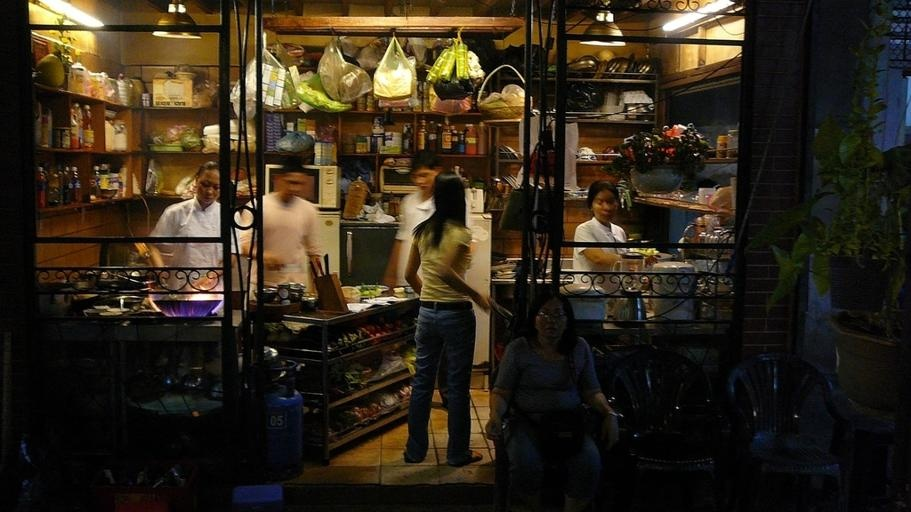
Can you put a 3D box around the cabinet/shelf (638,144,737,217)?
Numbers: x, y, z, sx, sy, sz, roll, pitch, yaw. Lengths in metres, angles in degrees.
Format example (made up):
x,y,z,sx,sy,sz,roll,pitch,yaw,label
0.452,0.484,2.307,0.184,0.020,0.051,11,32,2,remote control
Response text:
x,y,z,sx,sy,sz,roll,pitch,yaw,label
1.649,-0.456,5.379,0.673,0.451,0.407,-2,5,18,cabinet/shelf

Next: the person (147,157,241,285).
x,y,z,sx,sy,sz,roll,pitch,yaw,label
-1.986,-0.226,5.757,0.580,0.973,0.690,-7,5,-37,person

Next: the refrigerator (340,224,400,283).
x,y,z,sx,sy,sz,roll,pitch,yaw,label
-0.970,-0.086,8.428,0.961,0.739,0.621,1,5,-5,refrigerator

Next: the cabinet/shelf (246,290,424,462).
x,y,z,sx,sy,sz,roll,pitch,yaw,label
-1.225,0.942,6.715,0.679,1.022,1.648,3,4,3,cabinet/shelf

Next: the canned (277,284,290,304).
x,y,z,sx,sy,sz,roll,pitch,yaw,label
-1.418,0.321,6.292,0.088,0.139,0.067,-5,4,-9,canned

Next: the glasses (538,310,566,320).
x,y,z,sx,sy,sz,roll,pitch,yaw,label
0.677,0.416,5.253,0.179,0.061,0.046,-3,4,-6,glasses

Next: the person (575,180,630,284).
x,y,z,sx,sy,sz,roll,pitch,yaw,label
1.061,-0.151,5.624,0.391,0.794,0.718,-3,4,11,person

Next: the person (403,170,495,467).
x,y,z,sx,sy,sz,roll,pitch,yaw,label
-0.095,0.546,6.168,0.772,2.396,0.454,-1,6,40,person

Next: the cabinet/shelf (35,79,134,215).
x,y,z,sx,sy,sz,roll,pitch,yaw,label
-2.820,-0.835,5.830,0.254,0.595,0.822,20,6,35,cabinet/shelf

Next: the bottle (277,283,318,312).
x,y,z,sx,sy,sz,roll,pitch,yaw,label
-1.320,0.357,6.386,0.226,0.116,0.297,4,-10,24,bottle

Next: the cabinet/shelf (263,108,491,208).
x,y,z,sx,sy,sz,roll,pitch,yaw,label
-0.884,-1.112,8.705,2.775,0.902,0.422,1,1,-2,cabinet/shelf

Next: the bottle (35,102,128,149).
x,y,z,sx,sy,sz,roll,pitch,yaw,label
-2.907,-0.996,5.838,0.158,0.222,0.515,-4,-1,35,bottle

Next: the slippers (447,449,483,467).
x,y,z,sx,sy,sz,roll,pitch,yaw,label
0.088,1.697,6.323,0.280,0.087,0.110,-4,9,-22,slippers

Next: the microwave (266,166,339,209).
x,y,z,sx,sy,sz,roll,pitch,yaw,label
-1.561,-0.756,8.462,0.965,0.477,0.494,3,5,23,microwave

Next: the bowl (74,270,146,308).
x,y,z,sx,sy,sz,roll,pitch,yaw,label
-2.531,0.249,5.569,0.645,0.301,0.158,-3,4,5,bowl

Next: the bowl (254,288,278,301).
x,y,z,sx,sy,sz,roll,pitch,yaw,label
-1.532,0.316,6.204,0.193,0.083,0.172,0,0,-13,bowl

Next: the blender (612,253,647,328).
x,y,z,sx,sy,sz,roll,pitch,yaw,label
1.283,0.246,5.491,0.261,0.509,0.205,-4,4,-1,blender

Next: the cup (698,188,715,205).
x,y,z,sx,sy,sz,roll,pitch,yaw,label
1.793,-0.426,5.426,0.123,0.110,0.109,0,11,2,cup
